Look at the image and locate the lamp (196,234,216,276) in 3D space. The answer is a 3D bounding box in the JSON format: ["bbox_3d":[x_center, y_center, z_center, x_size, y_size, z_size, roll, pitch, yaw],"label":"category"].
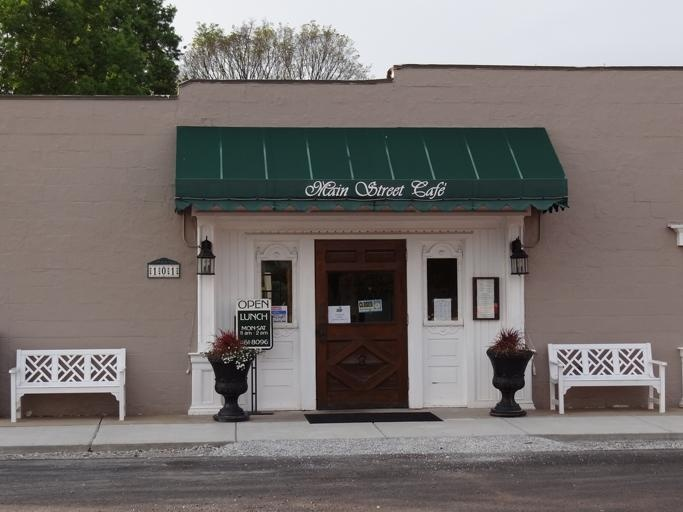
[{"bbox_3d":[-2.417,0.009,22.593,0.313,0.689,0.316,-2,12,-7],"label":"lamp"}]

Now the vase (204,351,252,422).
[{"bbox_3d":[-1.829,2.355,22.345,1.086,1.215,1.058,0,0,10],"label":"vase"}]

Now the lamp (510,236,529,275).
[{"bbox_3d":[3.194,0.030,22.971,0.338,0.690,0.278,1,12,7],"label":"lamp"}]

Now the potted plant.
[{"bbox_3d":[2.916,2.112,22.431,0.664,1.443,0.640,11,17,43],"label":"potted plant"}]

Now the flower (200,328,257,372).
[{"bbox_3d":[-2.031,1.655,22.191,0.886,0.595,0.799,7,35,0],"label":"flower"}]
